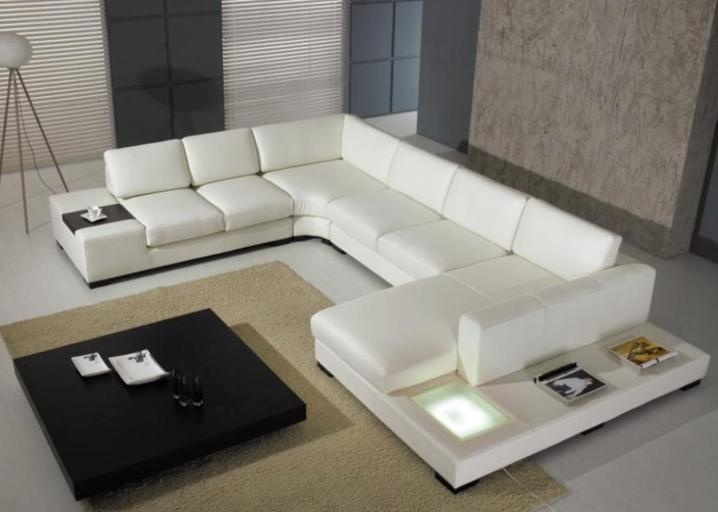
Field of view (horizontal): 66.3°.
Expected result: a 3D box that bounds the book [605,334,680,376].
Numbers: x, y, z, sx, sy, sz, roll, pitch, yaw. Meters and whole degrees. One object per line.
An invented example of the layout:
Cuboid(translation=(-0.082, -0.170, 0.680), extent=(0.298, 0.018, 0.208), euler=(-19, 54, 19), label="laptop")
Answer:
Cuboid(translation=(1.912, 0.660, 3.748), extent=(0.409, 0.120, 0.274), euler=(-21, 33, -24), label="book")

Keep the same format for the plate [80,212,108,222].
Cuboid(translation=(-2.309, -0.343, 4.779), extent=(0.136, 0.056, 0.141), euler=(-17, 34, -37), label="plate")

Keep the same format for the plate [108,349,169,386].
Cuboid(translation=(-1.385, 0.722, 3.517), extent=(0.246, 0.073, 0.331), euler=(-10, 28, -35), label="plate")

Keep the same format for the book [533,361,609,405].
Cuboid(translation=(1.372, 0.818, 3.478), extent=(0.358, 0.061, 0.344), euler=(-27, 29, -24), label="book")

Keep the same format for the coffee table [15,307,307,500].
Cuboid(translation=(-1.277, 0.862, 3.520), extent=(1.320, 0.360, 1.376), euler=(-25, 34, -29), label="coffee table")
